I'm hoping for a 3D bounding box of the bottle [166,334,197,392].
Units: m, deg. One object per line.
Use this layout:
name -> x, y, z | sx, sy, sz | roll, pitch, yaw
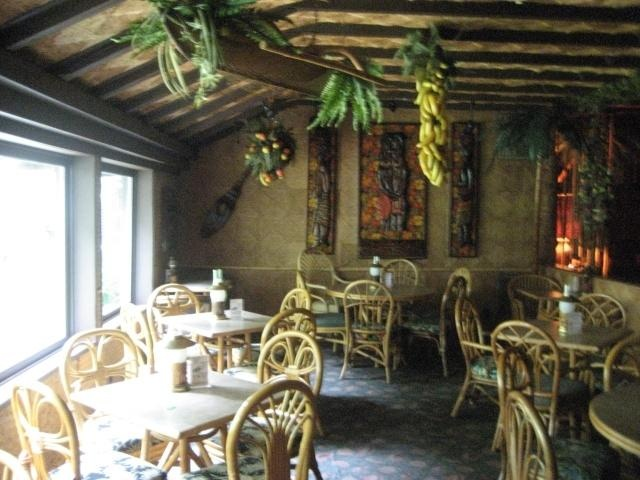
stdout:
bottle -> -0.828, 0.720, 3.399 | 0.164, 0.343, 0.143 | -2, 9, -13
